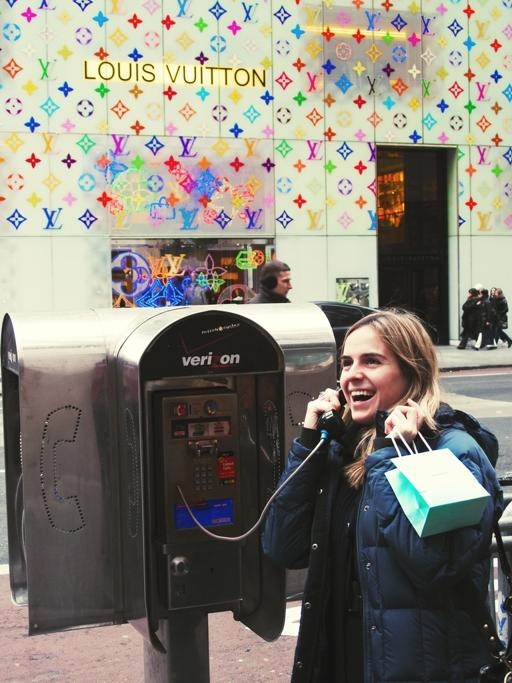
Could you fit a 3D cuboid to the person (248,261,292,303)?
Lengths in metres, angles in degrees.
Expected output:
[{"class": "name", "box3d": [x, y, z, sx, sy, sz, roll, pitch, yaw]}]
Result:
[{"class": "person", "box3d": [0.130, -0.520, 7.001, 0.304, 0.366, 0.711, -2, 4, 4]}]

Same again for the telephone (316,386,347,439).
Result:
[{"class": "telephone", "box3d": [0.217, 0.209, 2.305, 0.071, 0.104, 0.199, 10, 50, 13]}]

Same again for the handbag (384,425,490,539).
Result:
[{"class": "handbag", "box3d": [0.397, 0.319, 1.786, 0.183, 0.109, 0.325, -14, 30, -12]}]
